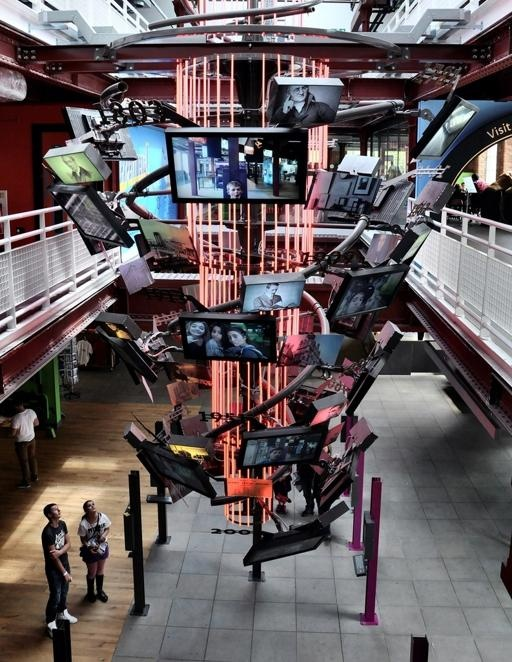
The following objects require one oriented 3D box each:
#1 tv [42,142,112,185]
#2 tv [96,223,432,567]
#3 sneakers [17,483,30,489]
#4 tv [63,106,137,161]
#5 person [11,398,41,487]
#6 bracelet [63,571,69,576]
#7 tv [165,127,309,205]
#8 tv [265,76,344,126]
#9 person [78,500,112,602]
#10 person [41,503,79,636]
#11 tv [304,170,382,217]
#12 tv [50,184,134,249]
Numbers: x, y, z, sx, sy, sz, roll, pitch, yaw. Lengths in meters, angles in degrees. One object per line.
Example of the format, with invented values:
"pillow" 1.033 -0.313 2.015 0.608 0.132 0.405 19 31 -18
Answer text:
"tv" -1.295 -1.196 3.586 0.346 0.249 0.101 -2 52 17
"tv" 0.224 0.518 5.184 3.195 3.340 1.345 0 21 -8
"sneakers" -4.175 2.785 8.947 0.255 0.090 0.078 6 5 3
"tv" -1.245 -1.584 3.990 0.094 0.353 0.579 -4 9 43
"person" -4.151 2.017 8.952 0.410 1.564 0.575 -3 7 -21
"bracelet" -1.978 2.526 5.191 0.043 0.014 0.039 -11 55 -36
"tv" -0.103 -1.030 3.051 0.741 0.362 0.066 0 45 1
"tv" 0.270 -1.296 2.747 0.392 0.186 0.449 0 6 1
"person" -1.845 2.599 5.846 0.455 1.089 0.430 0 -8 -40
"person" -2.104 2.569 5.302 0.309 1.421 0.614 -3 7 -22
"tv" 0.641 -1.013 3.639 0.533 0.316 0.278 0 6 4
"tv" -1.335 -0.826 3.625 0.091 0.571 0.705 -43 -11 23
